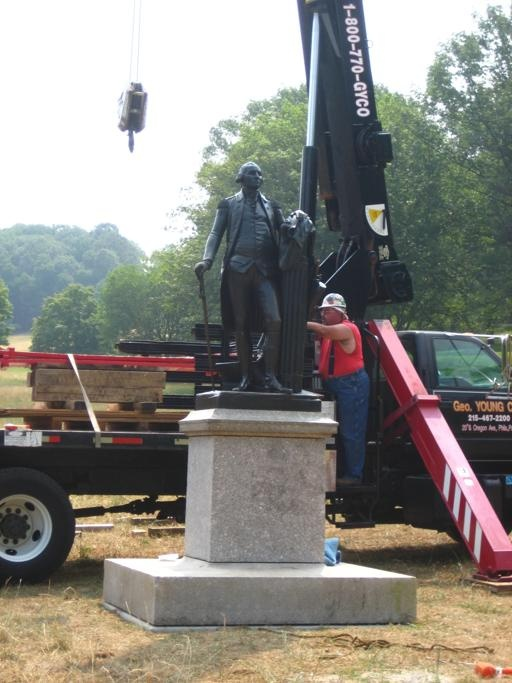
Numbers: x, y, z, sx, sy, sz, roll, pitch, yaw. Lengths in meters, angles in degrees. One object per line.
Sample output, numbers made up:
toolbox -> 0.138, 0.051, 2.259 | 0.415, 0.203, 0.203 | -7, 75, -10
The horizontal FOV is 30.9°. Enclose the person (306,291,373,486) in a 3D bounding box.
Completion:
person -> 0.835, 0.417, 8.778 | 0.476, 1.756, 0.686 | 0, 5, 4

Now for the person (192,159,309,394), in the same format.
person -> -0.009, -0.526, 6.934 | 0.831, 1.717, 0.729 | 1, 5, 17

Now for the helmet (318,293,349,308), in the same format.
helmet -> 0.741, -0.406, 8.849 | 0.196, 0.141, 0.240 | 1, -12, 6

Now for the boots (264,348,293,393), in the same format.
boots -> 0.150, 0.211, 6.762 | 0.182, 0.294, 0.273 | -2, 5, -12
